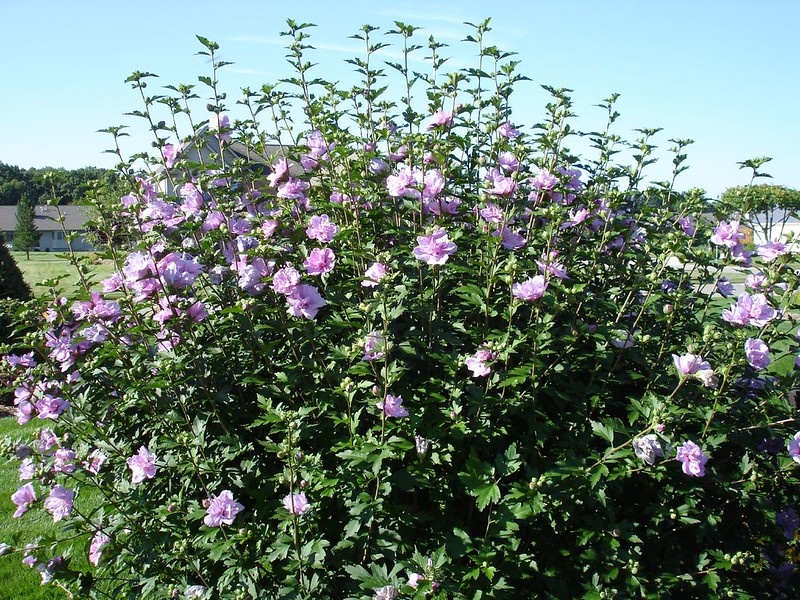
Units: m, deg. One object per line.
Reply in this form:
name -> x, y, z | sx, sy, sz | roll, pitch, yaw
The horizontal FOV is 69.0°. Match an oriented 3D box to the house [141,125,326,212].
house -> -1.287, -1.002, 4.574 | 1.425, 0.431, 1.339 | 13, 29, 27
